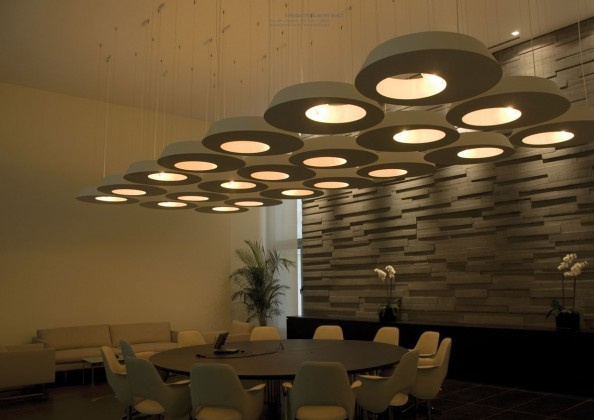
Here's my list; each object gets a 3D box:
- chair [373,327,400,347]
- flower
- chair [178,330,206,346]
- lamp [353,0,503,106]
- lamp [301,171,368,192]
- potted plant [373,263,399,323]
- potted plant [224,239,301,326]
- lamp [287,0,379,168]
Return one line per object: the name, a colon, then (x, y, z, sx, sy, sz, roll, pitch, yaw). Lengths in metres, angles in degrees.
chair: (1.550, 2.148, 8.204, 0.332, 0.486, 0.377, -7, -25, 24)
flower: (4.414, 1.315, 7.869, 0.605, 1.250, 0.544, -2, -6, 31)
chair: (-1.861, 2.247, 8.429, 0.330, 0.448, 0.343, 5, -14, -28)
lamp: (1.336, -1.497, 5.014, 1.476, 0.559, 0.812, 1, -6, -1)
lamp: (0.678, -0.524, 8.185, 1.157, 0.216, 0.816, 4, -7, -26)
potted plant: (1.913, 1.756, 10.183, 0.488, 1.168, 0.963, 0, -6, 11)
potted plant: (-0.927, 2.004, 13.084, 1.573, 2.396, 1.789, 0, -6, 12)
lamp: (0.323, -1.492, 5.864, 1.163, 1.234, 1.164, -12, -23, 33)
